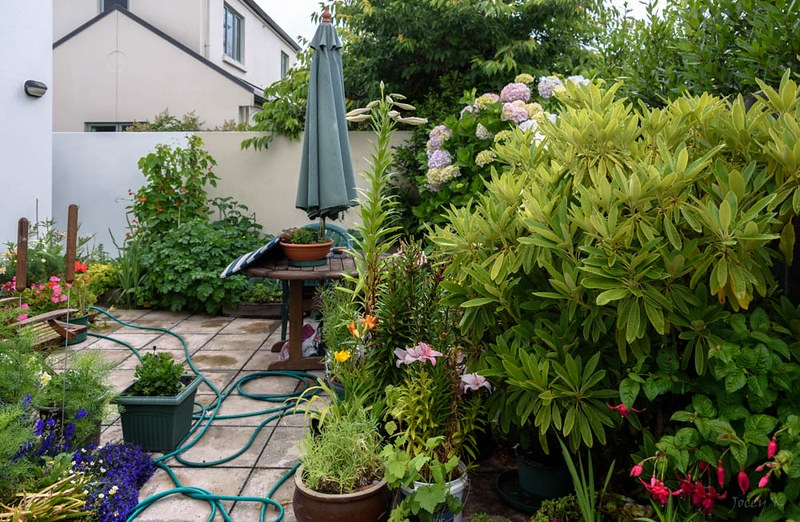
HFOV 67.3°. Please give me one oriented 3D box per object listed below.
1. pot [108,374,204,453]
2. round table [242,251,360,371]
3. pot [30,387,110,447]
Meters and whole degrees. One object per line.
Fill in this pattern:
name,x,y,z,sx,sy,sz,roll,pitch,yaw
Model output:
pot,-1.784,1.167,4.546,0.529,0.402,0.444,1,8,5
round table,-0.916,0.387,5.792,0.982,0.768,1.157,0,5,0
pot,-2.207,1.054,4.063,0.399,0.323,0.421,1,-4,0
